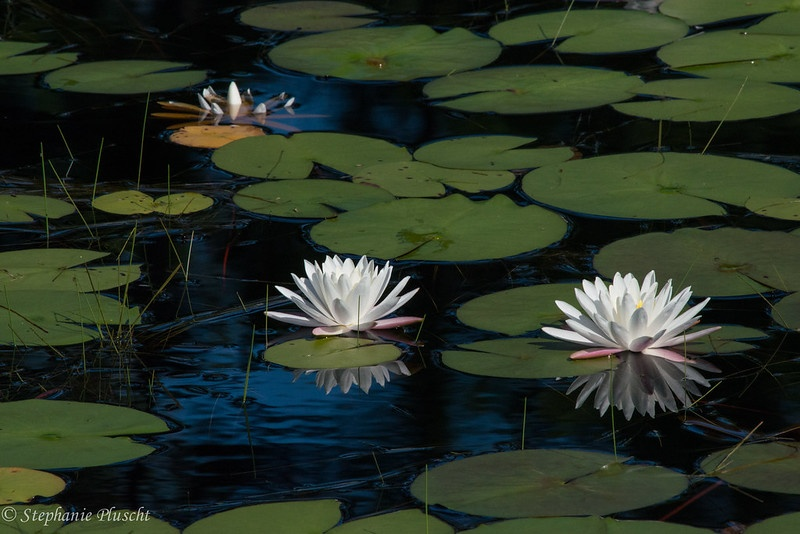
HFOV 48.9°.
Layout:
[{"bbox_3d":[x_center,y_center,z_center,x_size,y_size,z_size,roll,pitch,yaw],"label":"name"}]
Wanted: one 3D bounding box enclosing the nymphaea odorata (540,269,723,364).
[{"bbox_3d":[0.912,0.176,3.445,0.521,0.118,0.385,-17,21,-10],"label":"nymphaea odorata"}]
